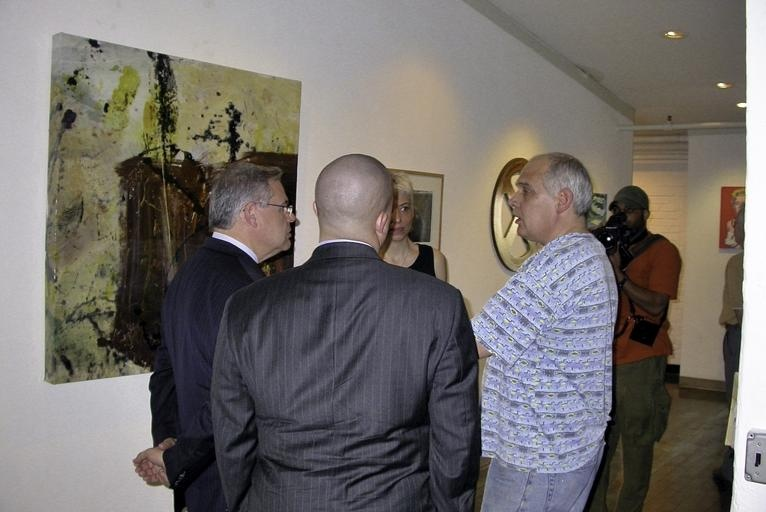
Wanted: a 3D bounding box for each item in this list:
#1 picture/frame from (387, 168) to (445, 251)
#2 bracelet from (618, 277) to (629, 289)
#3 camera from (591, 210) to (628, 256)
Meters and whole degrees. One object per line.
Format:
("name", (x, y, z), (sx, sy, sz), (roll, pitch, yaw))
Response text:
("picture/frame", (0.251, -0.328, 5.086), (0.621, 0.636, 0.015), (-8, 18, -42))
("bracelet", (1.803, 0.196, 4.625), (0.037, 0.083, 0.060), (23, 15, 9))
("camera", (1.712, -0.174, 4.720), (0.329, 0.304, 0.315), (0, -2, -33))
